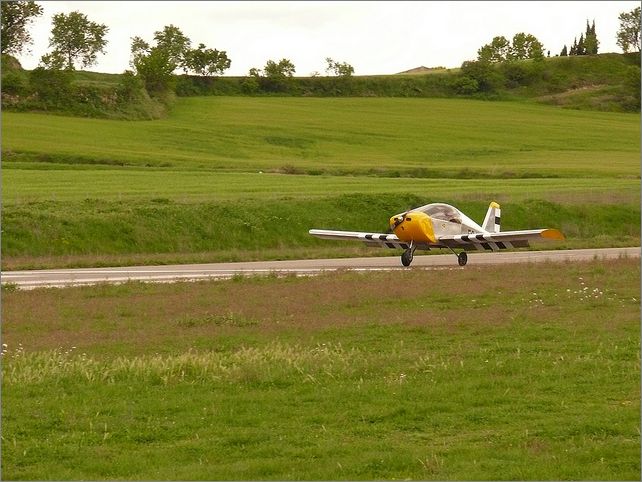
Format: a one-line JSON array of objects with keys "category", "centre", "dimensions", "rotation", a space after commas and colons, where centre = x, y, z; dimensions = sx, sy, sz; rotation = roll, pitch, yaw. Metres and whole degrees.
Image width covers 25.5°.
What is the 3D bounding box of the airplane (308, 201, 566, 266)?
[{"category": "airplane", "centre": [7.870, -0.575, 102.911], "dimensions": [17.364, 4.463, 13.092], "rotation": [0, 3, 0]}]
